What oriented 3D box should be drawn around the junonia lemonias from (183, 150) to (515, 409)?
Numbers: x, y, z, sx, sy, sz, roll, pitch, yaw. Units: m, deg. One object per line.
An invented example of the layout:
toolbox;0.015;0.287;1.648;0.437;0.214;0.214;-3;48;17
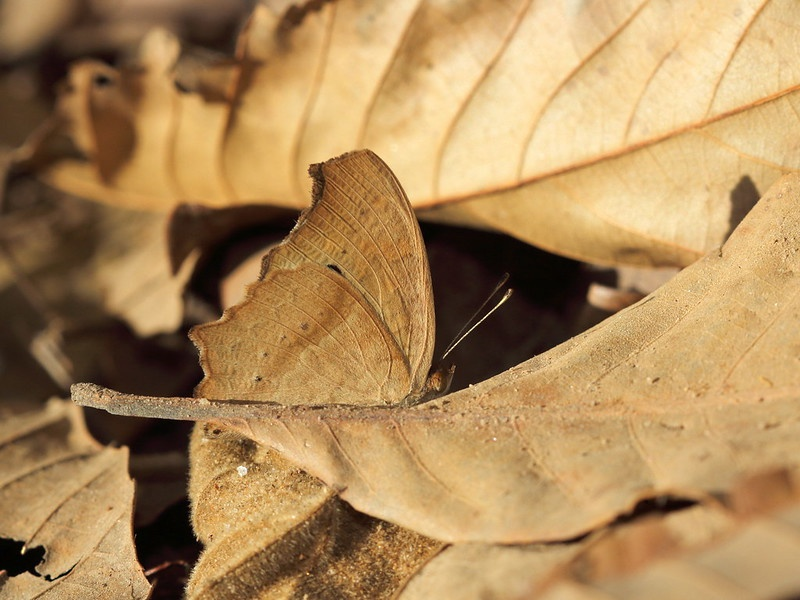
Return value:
junonia lemonias;-0.103;0.024;1.477;0.286;0.337;0.253;2;76;2
